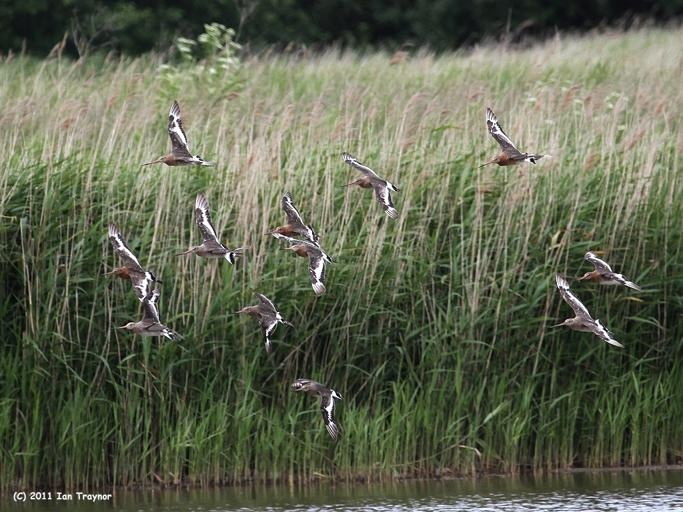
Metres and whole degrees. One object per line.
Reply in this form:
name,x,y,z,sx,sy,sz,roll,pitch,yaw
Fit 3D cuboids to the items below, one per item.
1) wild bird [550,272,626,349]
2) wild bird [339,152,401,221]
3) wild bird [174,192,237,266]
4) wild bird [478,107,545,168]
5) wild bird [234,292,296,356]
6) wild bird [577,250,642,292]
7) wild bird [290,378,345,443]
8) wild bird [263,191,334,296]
wild bird,2.493,0.678,11.777,0.546,0.223,1.023,-11,18,8
wild bird,0.369,-0.722,11.716,0.673,0.570,0.781,8,18,22
wild bird,-1.348,-0.204,11.602,0.555,0.833,0.231,-29,-24,29
wild bird,1.813,-1.131,12.226,0.480,0.816,1.731,1,17,3
wild bird,-0.785,0.651,11.699,0.421,0.689,0.570,-9,19,-32
wild bird,2.804,0.238,11.957,0.640,0.261,1.008,-2,14,14
wild bird,-0.260,1.655,12.081,0.487,0.820,0.663,1,16,2
wild bird,-0.363,-0.099,11.492,0.715,1.266,0.419,-12,-11,8
